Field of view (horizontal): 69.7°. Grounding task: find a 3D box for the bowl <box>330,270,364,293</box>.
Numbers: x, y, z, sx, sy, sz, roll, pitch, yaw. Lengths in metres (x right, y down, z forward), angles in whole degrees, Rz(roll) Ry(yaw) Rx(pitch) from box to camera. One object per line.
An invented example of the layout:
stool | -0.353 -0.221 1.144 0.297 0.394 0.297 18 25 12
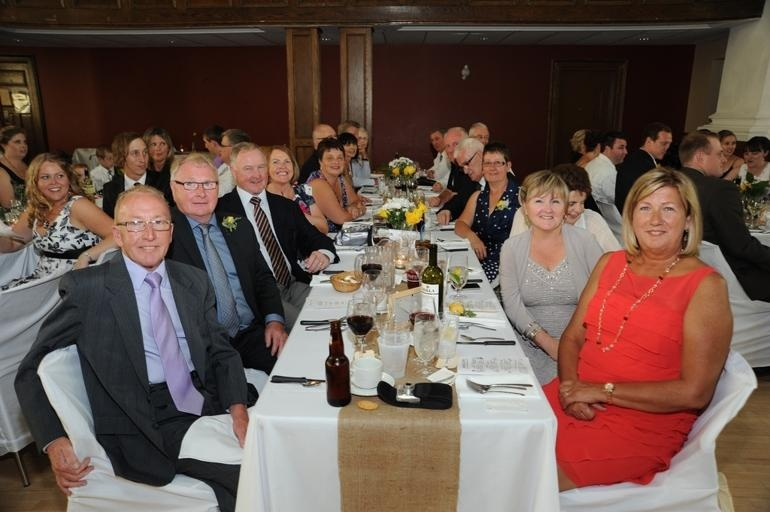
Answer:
bowl | -0.234 0.167 3.500 0.141 0.061 0.137 -1 29 1

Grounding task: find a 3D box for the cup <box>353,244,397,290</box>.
cup | -0.059 0.056 3.424 0.296 0.326 0.199 -4 -4 5

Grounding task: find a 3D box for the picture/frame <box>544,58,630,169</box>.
picture/frame | 3.879 -2.565 10.915 1.208 2.389 0.228 4 31 16

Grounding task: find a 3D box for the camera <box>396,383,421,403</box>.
camera | 0.105 0.638 2.593 0.079 0.043 0.084 4 14 1

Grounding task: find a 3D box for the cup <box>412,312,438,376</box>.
cup | 0.204 0.440 2.790 0.149 0.340 0.147 -3 20 1

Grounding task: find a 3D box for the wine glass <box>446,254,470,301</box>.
wine glass | 0.471 0.160 3.555 0.134 0.238 0.148 7 20 25

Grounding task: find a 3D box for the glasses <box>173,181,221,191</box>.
glasses | -1.201 -0.449 3.533 0.251 0.064 0.090 -6 17 -16

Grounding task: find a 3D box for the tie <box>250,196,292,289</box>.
tie | -0.845 -0.066 4.240 0.172 0.911 0.126 -21 -3 -9

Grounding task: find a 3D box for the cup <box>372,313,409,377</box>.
cup | 0.052 0.447 2.868 0.217 0.338 0.226 -1 11 0

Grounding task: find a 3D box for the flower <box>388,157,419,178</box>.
flower | 0.233 -1.052 6.671 0.356 0.304 0.353 3 15 -3

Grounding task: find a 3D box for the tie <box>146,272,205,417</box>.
tie | -1.120 0.474 2.941 0.281 0.763 0.160 13 21 40

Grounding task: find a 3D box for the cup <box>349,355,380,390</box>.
cup | -0.092 0.563 2.709 0.139 0.122 0.181 7 17 -14

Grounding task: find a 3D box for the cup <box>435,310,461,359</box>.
cup | 0.318 0.417 2.913 0.166 0.285 0.188 1 14 0
